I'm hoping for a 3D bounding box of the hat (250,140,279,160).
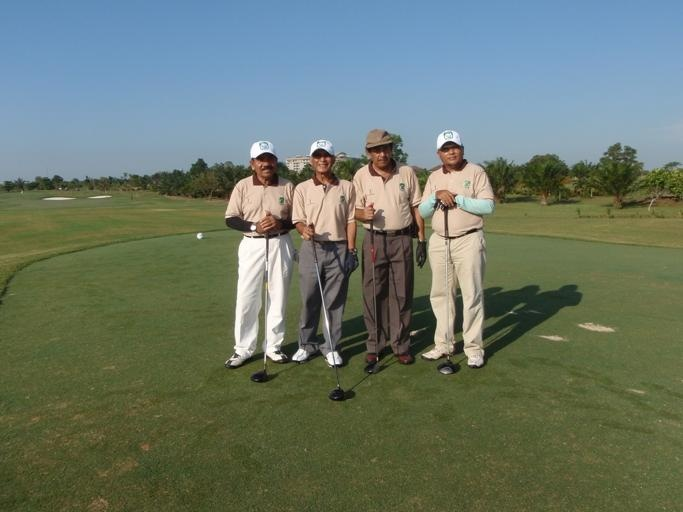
[{"bbox_3d":[-1.016,-1.354,5.962,0.292,0.212,0.374,-2,12,-8],"label":"hat"}]

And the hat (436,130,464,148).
[{"bbox_3d":[1.382,-1.466,5.912,0.286,0.232,0.227,3,13,16],"label":"hat"}]

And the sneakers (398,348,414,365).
[{"bbox_3d":[0.839,1.323,6.071,0.184,0.076,0.233,0,1,-2],"label":"sneakers"}]

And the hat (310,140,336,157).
[{"bbox_3d":[-0.249,-1.381,5.971,0.297,0.192,0.245,-2,12,-7],"label":"hat"}]

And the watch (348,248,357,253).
[{"bbox_3d":[0.142,-0.075,6.198,0.101,0.060,0.082,1,12,4],"label":"watch"}]

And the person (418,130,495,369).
[{"bbox_3d":[1.501,-0.098,6.070,1.024,2.975,0.858,7,14,33],"label":"person"}]

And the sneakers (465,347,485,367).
[{"bbox_3d":[1.758,1.285,5.935,0.309,0.190,0.298,-2,12,-6],"label":"sneakers"}]

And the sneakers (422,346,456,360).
[{"bbox_3d":[1.295,1.294,6.246,0.484,0.221,0.164,2,0,-9],"label":"sneakers"}]

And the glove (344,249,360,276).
[{"bbox_3d":[0.127,0.087,6.230,0.103,0.293,0.215,10,14,-4],"label":"glove"}]

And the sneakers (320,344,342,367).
[{"bbox_3d":[-0.097,1.291,6.052,0.258,0.224,0.492,-3,12,-12],"label":"sneakers"}]

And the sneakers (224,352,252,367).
[{"bbox_3d":[-1.357,1.346,5.996,0.118,0.128,0.304,1,-3,23],"label":"sneakers"}]

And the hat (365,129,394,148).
[{"bbox_3d":[0.482,-1.514,6.022,0.309,0.227,0.243,0,12,2],"label":"hat"}]

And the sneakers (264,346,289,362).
[{"bbox_3d":[-0.851,1.308,6.148,0.191,0.146,0.328,-11,16,-40],"label":"sneakers"}]
